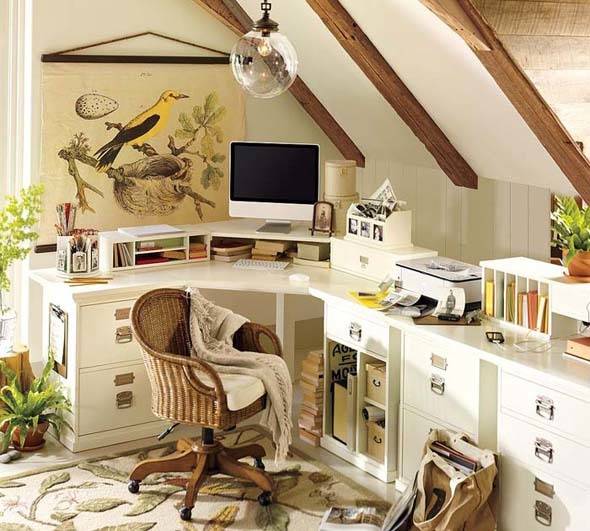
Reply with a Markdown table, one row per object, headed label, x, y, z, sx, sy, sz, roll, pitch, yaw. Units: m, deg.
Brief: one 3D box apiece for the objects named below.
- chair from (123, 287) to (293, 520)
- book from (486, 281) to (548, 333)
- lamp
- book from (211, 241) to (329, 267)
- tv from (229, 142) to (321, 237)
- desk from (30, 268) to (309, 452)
| label | x | y | z | sx | sy | sz | roll | pitch | yaw |
| --- | --- | --- | --- | --- | --- | --- | --- | --- | --- |
| chair | -0.363 | 0.619 | 3.034 | 0.902 | 1.154 | 0.971 | 6 | 10 | 29 |
| book | 0.984 | 0.179 | 2.478 | 0.074 | 0.114 | 0.209 | -7 | 13 | -34 |
| lamp | -0.106 | -0.924 | 2.401 | 0.257 | 0.364 | 0.266 | -2 | 7 | -26 |
| book | -0.175 | -0.106 | 3.812 | 0.810 | 0.145 | 0.378 | 2 | 7 | 4 |
| tv | -0.133 | -0.517 | 3.733 | 0.636 | 0.581 | 0.209 | 2 | 8 | 7 |
| desk | -0.400 | 0.603 | 3.424 | 1.699 | 1.017 | 0.582 | -9 | -34 | -4 |
